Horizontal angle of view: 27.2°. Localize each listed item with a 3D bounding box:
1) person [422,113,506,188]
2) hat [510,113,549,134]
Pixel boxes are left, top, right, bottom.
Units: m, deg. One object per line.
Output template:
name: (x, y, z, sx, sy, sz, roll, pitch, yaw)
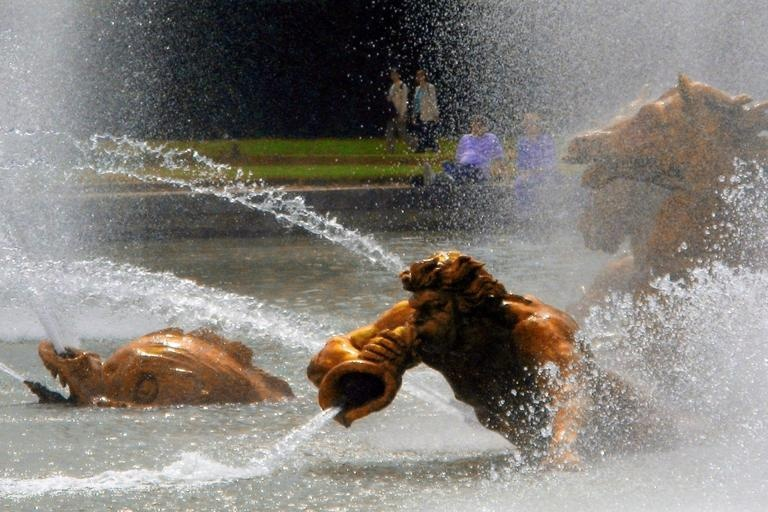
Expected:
person: (0.876, -1.114, 17.589, 0.529, 0.606, 1.146, 9, 30, 32)
hat: (1.556, -1.427, 16.959, 0.381, 0.139, 0.452, -2, 43, 6)
